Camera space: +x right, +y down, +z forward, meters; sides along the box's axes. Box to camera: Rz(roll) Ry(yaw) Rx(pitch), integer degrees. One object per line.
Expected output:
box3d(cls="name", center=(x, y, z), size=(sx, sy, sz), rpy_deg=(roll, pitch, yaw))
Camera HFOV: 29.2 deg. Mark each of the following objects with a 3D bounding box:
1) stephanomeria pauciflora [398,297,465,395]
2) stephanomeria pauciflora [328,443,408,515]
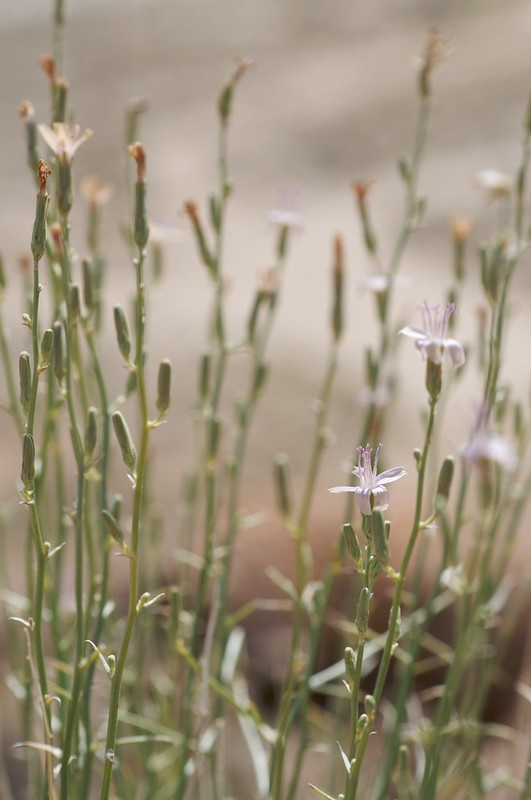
box3d(cls="stephanomeria pauciflora", center=(0.108, -0.033, 0.642), size=(0.029, 0.060, 0.031), rpy_deg=(2, 13, 5))
box3d(cls="stephanomeria pauciflora", center=(0.066, 0.056, 0.651), size=(0.037, 0.052, 0.043), rpy_deg=(-7, 0, -40))
